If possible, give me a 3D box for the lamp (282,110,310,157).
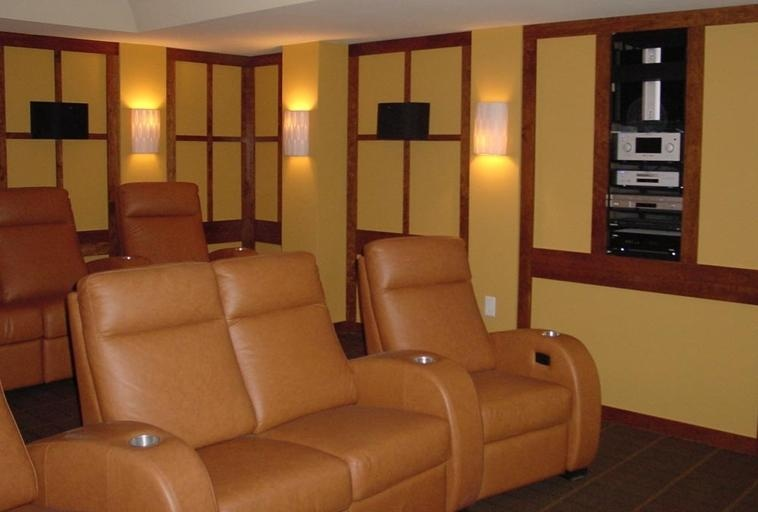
[{"bbox_3d":[-0.860,-1.262,6.350,0.361,0.445,0.124,13,18,41],"label":"lamp"}]

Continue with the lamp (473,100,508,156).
[{"bbox_3d":[0.955,-1.086,5.323,0.302,0.446,0.278,2,5,17],"label":"lamp"}]

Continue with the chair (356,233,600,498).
[{"bbox_3d":[0.706,0.609,4.372,1.456,1.678,1.574,-3,3,-35],"label":"chair"}]

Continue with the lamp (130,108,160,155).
[{"bbox_3d":[-2.457,-1.308,6.475,0.295,0.449,0.118,-4,14,-22],"label":"lamp"}]
